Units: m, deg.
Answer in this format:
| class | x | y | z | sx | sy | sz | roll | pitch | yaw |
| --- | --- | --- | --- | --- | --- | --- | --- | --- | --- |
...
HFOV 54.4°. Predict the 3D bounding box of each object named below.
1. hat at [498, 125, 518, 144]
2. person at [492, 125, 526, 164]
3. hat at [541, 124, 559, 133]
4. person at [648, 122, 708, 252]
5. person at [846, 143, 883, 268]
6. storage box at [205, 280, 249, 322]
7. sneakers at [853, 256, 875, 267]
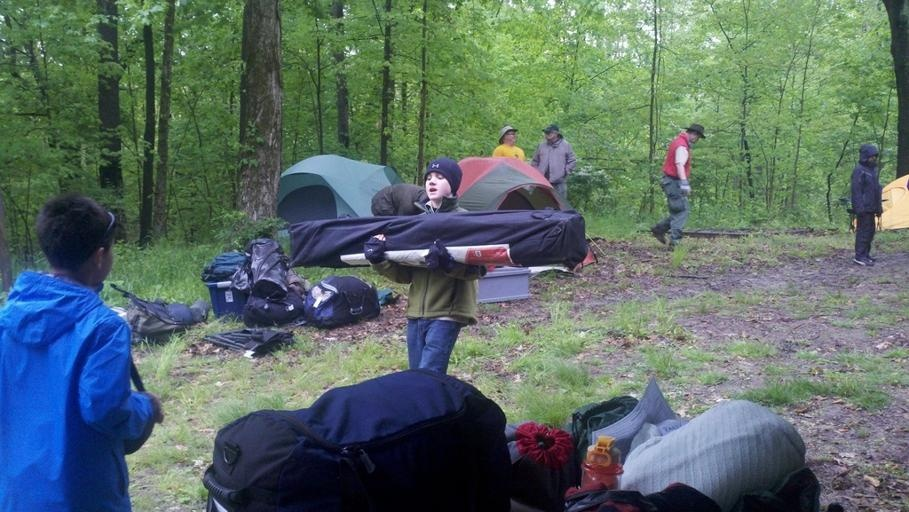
| class | x | y | z | sx | sy | sz | roll | pitch | yaw |
| --- | --- | --- | --- | --- | --- | --- | --- | --- | --- |
| hat | 1.687 | -3.829 | 27.734 | 0.416 | 0.513 | 0.589 | 1 | 5 | -2 |
| person | 1.742 | -3.575 | 27.963 | 1.288 | 1.063 | 0.675 | -2 | -5 | -36 |
| hat | 3.094 | -3.998 | 27.510 | 0.417 | 0.200 | 0.274 | 3 | 0 | -27 |
| person | 6.927 | -2.218 | 27.459 | 1.203 | 3.822 | 1.550 | 3 | 6 | 12 |
| person | 12.086 | -1.540 | 25.944 | 0.880 | 3.496 | 1.229 | 4 | 6 | 24 |
| storage box | -5.965 | 1.199 | 24.248 | 1.468 | 1.054 | 1.153 | -2 | 0 | 17 |
| sneakers | 11.959 | 0.153 | 25.699 | 0.667 | 0.274 | 0.236 | -1 | 4 | 18 |
